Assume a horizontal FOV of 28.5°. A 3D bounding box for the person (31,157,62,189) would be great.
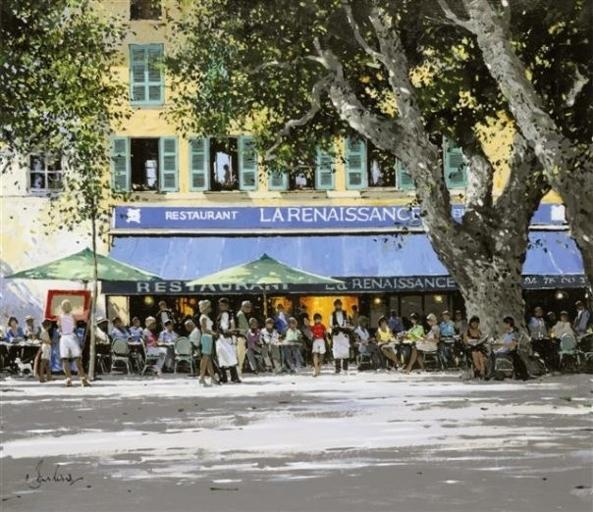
[{"bbox_3d":[-7.556,-2.498,35.134,0.917,1.097,1.129,-1,-3,-15],"label":"person"}]
